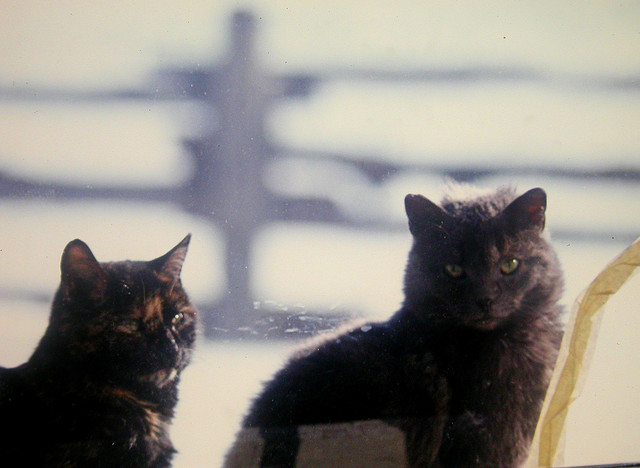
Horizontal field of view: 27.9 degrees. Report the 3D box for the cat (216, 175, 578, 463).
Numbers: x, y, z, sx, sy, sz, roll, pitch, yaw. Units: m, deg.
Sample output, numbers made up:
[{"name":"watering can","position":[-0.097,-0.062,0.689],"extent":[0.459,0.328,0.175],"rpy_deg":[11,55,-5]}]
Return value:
[{"name":"cat","position":[0.235,0.427,5.050],"extent":[1.385,1.354,0.998],"rpy_deg":[0,2,-18]}]
